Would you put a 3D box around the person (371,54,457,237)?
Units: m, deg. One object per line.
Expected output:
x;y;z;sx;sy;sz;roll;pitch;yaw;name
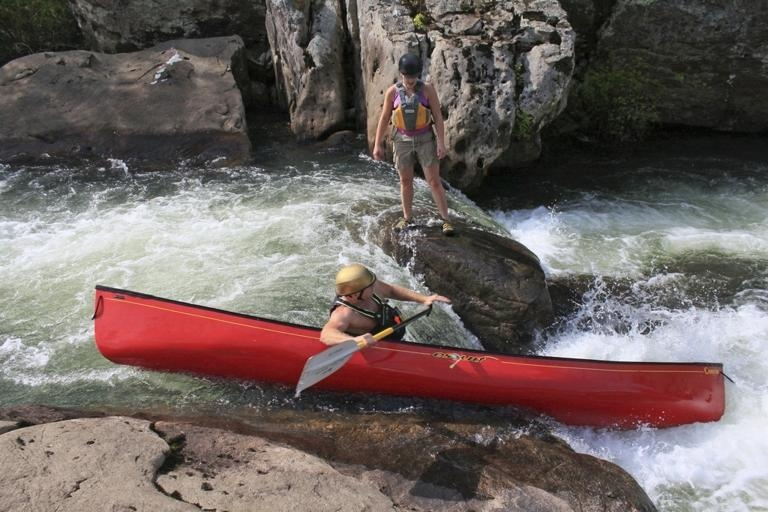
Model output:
0.515;-1.650;10.375;1.243;2.686;0.770;9;36;12;person

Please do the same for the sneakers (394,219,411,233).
0.285;-0.468;10.884;0.160;0.077;0.251;8;51;6;sneakers

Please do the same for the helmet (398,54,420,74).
0.353;-2.758;9.795;0.272;0.229;0.289;-5;48;-8;helmet

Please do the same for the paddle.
-0.305;1.228;9.021;2.720;0.438;0.321;-23;11;-34;paddle
